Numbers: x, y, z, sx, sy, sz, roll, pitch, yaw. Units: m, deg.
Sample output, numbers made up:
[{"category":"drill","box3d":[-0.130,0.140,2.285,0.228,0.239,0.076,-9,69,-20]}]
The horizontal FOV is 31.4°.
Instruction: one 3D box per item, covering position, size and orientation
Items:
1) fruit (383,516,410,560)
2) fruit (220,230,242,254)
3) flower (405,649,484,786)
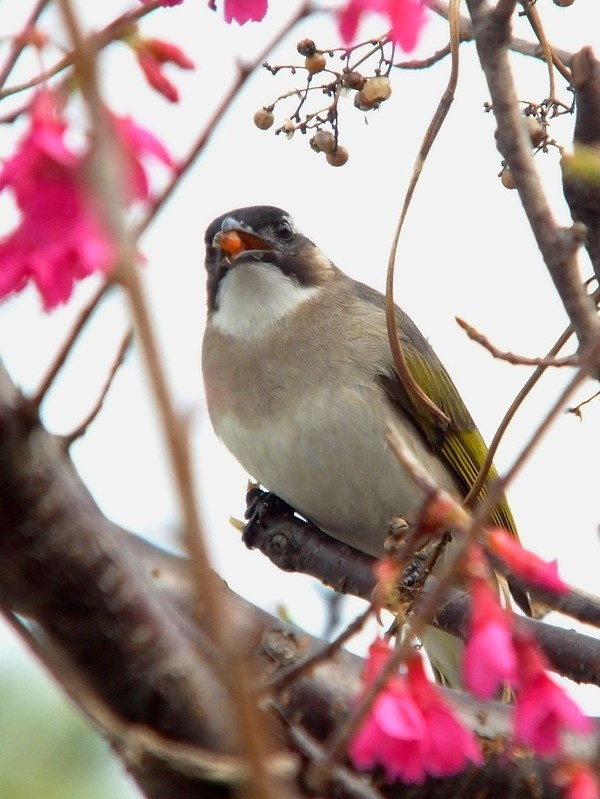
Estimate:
[{"category":"fruit","box3d":[0.138,0.196,1.522,0.036,0.060,0.026,18,-41,15]},{"category":"fruit","box3d":[-0.252,-0.565,3.880,0.058,0.042,0.089,-4,-84,-1]},{"category":"flower","box3d":[0.235,0.523,1.754,0.128,0.187,0.288,1,-46,14]}]
